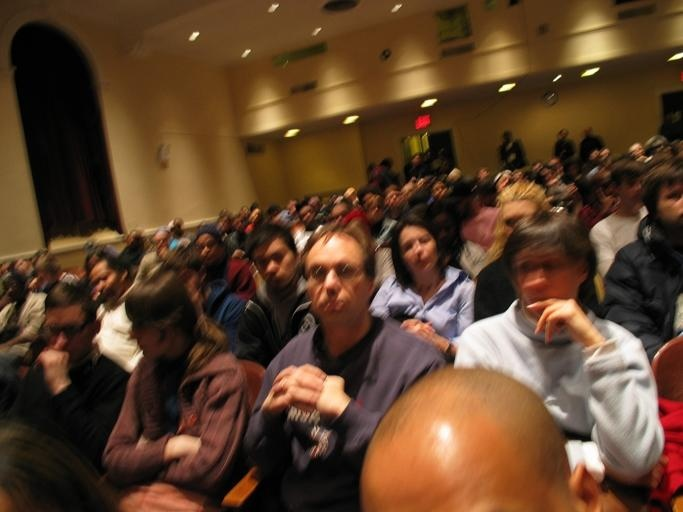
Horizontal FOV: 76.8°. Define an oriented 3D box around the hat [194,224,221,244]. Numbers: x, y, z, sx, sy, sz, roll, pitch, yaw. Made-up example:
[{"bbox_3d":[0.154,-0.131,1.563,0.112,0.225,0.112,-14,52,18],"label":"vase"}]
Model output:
[{"bbox_3d":[-0.978,-0.170,3.163,0.119,0.103,0.123,-20,18,-21],"label":"hat"}]
